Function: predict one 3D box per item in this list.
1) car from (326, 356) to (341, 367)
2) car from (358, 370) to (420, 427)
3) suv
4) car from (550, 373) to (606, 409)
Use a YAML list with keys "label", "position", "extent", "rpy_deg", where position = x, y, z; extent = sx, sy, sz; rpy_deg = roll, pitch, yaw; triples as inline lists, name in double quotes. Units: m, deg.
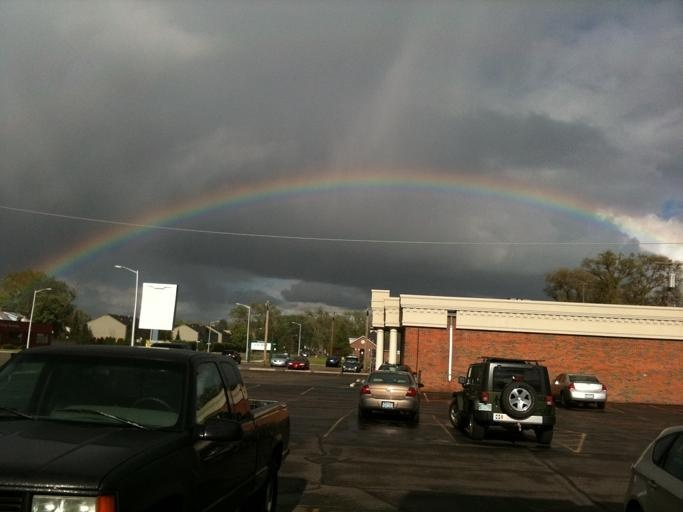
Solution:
- label: "car"
  position: [-1.143, 15.242, 82.156]
  extent: [1.402, 1.363, 3.199]
  rpy_deg: [-3, -4, 17]
- label: "car"
  position: [1.610, 4.633, 18.990]
  extent: [1.123, 1.097, 2.551]
  rpy_deg: [0, -1, 7]
- label: "suv"
  position: [4.624, 4.117, 16.795]
  extent: [2.093, 1.778, 3.233]
  rpy_deg: [2, -3, -2]
- label: "car"
  position: [13.053, 7.393, 31.460]
  extent: [2.044, 2.001, 2.939]
  rpy_deg: [-3, -4, 9]
